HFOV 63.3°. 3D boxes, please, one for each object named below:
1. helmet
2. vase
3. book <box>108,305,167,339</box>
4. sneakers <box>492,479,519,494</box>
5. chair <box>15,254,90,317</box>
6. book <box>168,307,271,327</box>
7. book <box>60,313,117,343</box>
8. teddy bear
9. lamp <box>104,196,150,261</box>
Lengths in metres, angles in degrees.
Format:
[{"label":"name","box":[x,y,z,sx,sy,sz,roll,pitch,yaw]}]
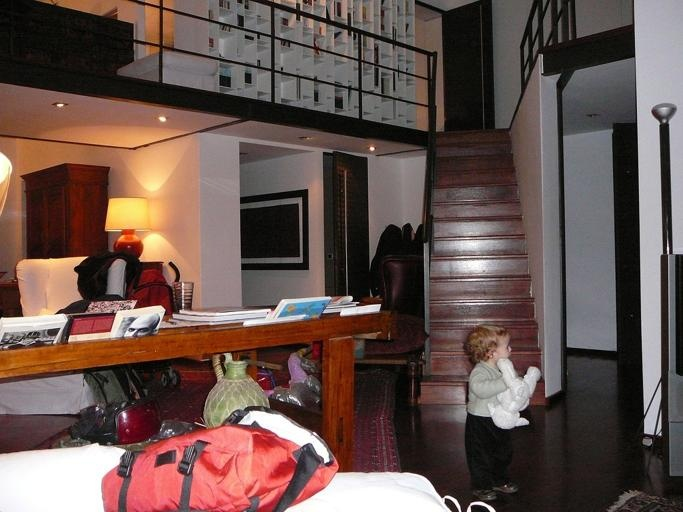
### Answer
[{"label":"helmet","box":[-0.899,0.649,2.225,0.235,0.097,0.193,-5,-8,16]},{"label":"vase","box":[-0.392,0.506,2.053,0.242,0.336,0.242,0,-14,1]},{"label":"book","box":[-0.623,0.207,1.698,0.104,0.038,0.098,-1,-43,-38]},{"label":"sneakers","box":[0.870,1.209,2.920,0.123,0.050,0.057,-2,2,11]},{"label":"chair","box":[-2.387,0.246,4.645,0.581,0.708,0.611,2,-5,-33]},{"label":"book","box":[-0.422,0.210,1.919,0.355,0.044,0.143,0,2,-2]},{"label":"book","box":[-0.740,0.210,1.632,0.138,0.077,0.023,-1,2,-37]},{"label":"teddy bear","box":[0.884,0.709,2.841,0.207,0.379,0.177,-1,3,-40]},{"label":"lamp","box":[-2.375,-0.335,6.347,0.431,0.674,0.613,2,2,36]}]
